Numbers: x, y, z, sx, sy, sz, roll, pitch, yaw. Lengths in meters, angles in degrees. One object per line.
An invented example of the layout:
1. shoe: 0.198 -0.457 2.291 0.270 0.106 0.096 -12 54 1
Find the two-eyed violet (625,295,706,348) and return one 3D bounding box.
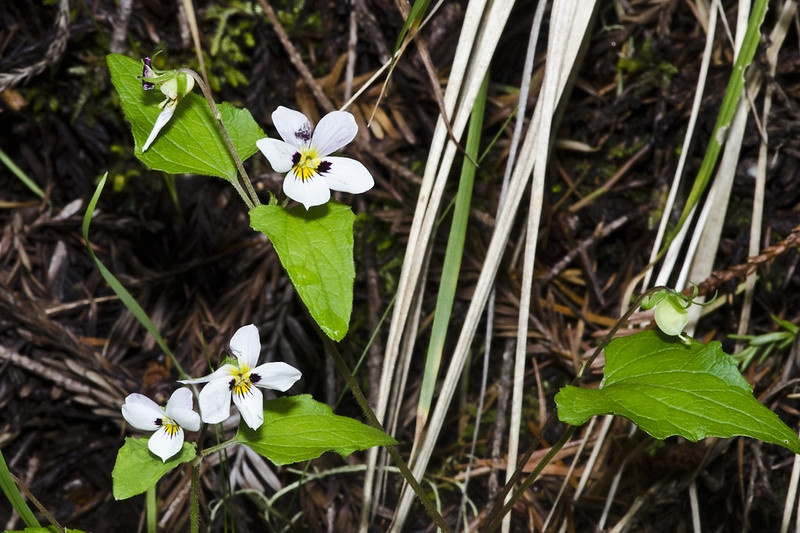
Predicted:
1. two-eyed violet: 0.798 0.134 2.297 0.151 0.075 0.168 27 38 -22

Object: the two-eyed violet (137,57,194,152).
1. two-eyed violet: -0.700 -0.492 2.238 0.195 0.230 0.125 -15 40 -19

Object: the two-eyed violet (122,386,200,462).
1. two-eyed violet: -0.733 0.510 2.314 0.067 0.179 0.172 -17 23 9

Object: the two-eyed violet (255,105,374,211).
1. two-eyed violet: -0.273 -0.330 2.237 0.347 0.325 0.108 -2 72 -33

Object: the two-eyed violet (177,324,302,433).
1. two-eyed violet: -0.475 0.344 2.237 0.309 0.155 0.365 12 47 -3
